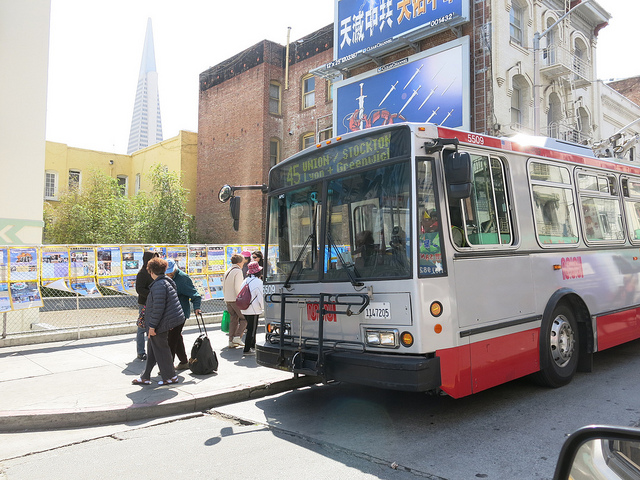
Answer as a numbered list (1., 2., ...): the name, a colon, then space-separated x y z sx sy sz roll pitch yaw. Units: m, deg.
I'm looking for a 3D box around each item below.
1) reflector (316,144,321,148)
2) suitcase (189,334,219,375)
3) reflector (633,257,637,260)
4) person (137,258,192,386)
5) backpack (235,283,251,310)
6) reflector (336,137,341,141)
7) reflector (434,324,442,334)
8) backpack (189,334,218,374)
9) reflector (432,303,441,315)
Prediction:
1. reflector: -0.011 -1.426 7.618 0.046 0.033 0.049 -3 -6 21
2. suitcase: -2.250 2.093 9.373 0.421 0.711 0.664 0 4 -35
3. reflector: 6.301 0.358 9.946 0.040 0.059 0.076 3 1 44
4. person: -2.770 1.397 8.788 0.745 2.194 1.165 -2 3 -18
5. backpack: -1.568 1.161 10.429 0.329 0.694 0.533 1 -5 -15
6. reflector: 0.284 -1.485 7.365 0.062 0.018 0.063 -1 2 42
7. reflector: 1.519 1.127 6.385 0.021 0.100 0.099 1 35 33
8. backpack: -2.102 2.226 9.396 0.370 0.638 0.627 -5 -17 -13
9. reflector: 1.499 0.881 6.406 0.120 0.131 0.028 -20 17 -40
